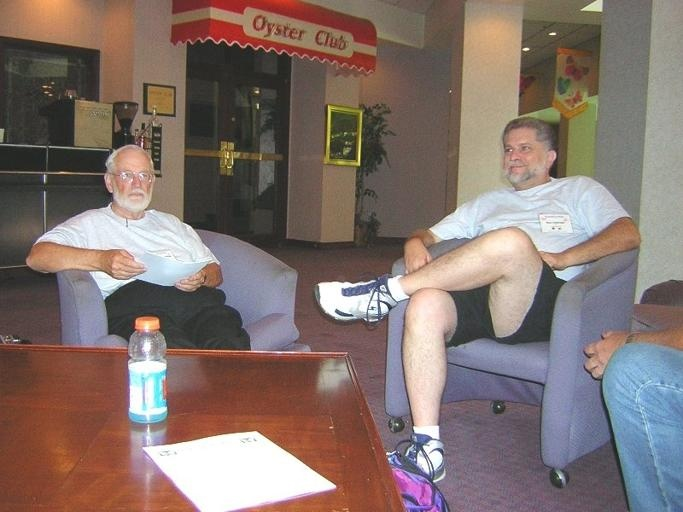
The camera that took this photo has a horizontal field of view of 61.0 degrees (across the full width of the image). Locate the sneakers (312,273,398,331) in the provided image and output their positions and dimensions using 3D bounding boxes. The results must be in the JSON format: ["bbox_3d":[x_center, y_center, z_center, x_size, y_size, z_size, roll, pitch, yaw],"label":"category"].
[{"bbox_3d":[0.064,0.200,2.360,0.400,0.157,0.186,-1,3,2],"label":"sneakers"}]

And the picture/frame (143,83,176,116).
[{"bbox_3d":[-2.054,-1.739,6.429,0.049,0.454,0.476,-5,-4,42],"label":"picture/frame"}]

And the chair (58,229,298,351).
[{"bbox_3d":[-0.721,0.055,2.575,0.729,0.651,0.621,1,-7,-31],"label":"chair"}]

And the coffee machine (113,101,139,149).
[{"bbox_3d":[-2.165,-1.322,5.808,0.210,0.438,0.305,-8,18,-36],"label":"coffee machine"}]

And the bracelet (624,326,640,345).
[{"bbox_3d":[1.008,0.284,2.015,0.048,0.047,0.048,-3,10,-20],"label":"bracelet"}]

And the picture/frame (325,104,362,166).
[{"bbox_3d":[0.002,-1.732,8.218,0.104,1.004,0.890,9,9,44],"label":"picture/frame"}]
